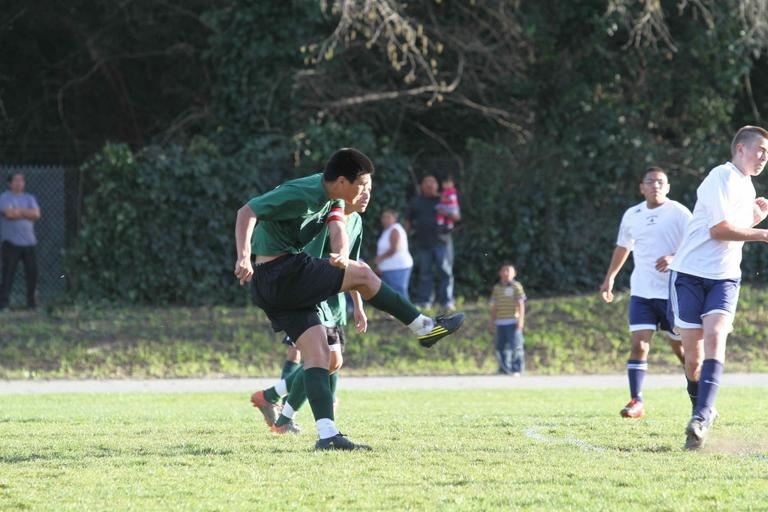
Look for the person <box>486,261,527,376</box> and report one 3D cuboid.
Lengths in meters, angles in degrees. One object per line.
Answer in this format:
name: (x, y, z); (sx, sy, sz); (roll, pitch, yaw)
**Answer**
person: (2.374, 1.203, 28.033); (0.614, 2.230, 0.722); (3, 10, 14)
